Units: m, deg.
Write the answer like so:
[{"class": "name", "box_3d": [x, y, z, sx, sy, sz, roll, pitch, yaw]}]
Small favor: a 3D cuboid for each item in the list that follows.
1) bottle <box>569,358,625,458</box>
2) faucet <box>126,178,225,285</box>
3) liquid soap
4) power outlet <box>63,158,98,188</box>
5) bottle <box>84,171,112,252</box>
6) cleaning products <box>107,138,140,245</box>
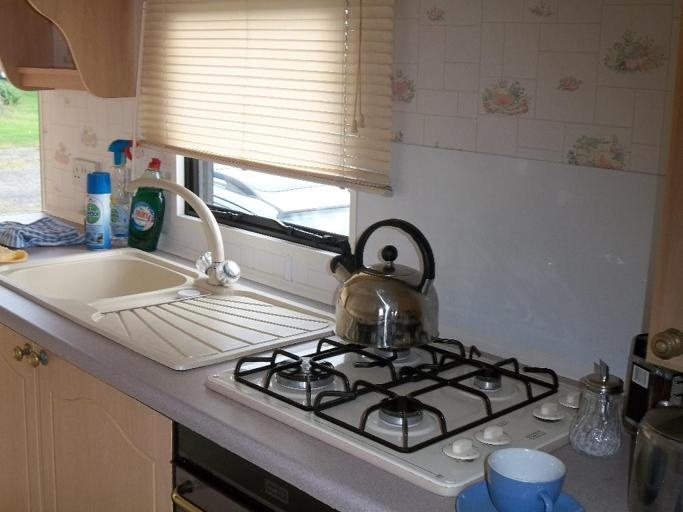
[{"class": "bottle", "box_3d": [0.476, 0.276, 0.996, 0.085, 0.177, 0.081, 2, 11, 0]}, {"class": "faucet", "box_3d": [-0.566, -0.089, 1.880, 0.360, 0.345, 0.114, 8, 12, 26]}, {"class": "liquid soap", "box_3d": [-0.805, -0.212, 2.249, 0.149, 0.362, 0.090, 13, 8, 9]}, {"class": "power outlet", "box_3d": [-1.240, -0.399, 2.578, 0.028, 0.137, 0.191, -5, 15, -43]}, {"class": "bottle", "box_3d": [-1.027, -0.191, 2.292, 0.108, 0.324, 0.106, 3, 7, 0]}, {"class": "cleaning products", "box_3d": [-0.991, -0.296, 2.434, 0.102, 0.436, 0.162, 7, 17, 1]}]
